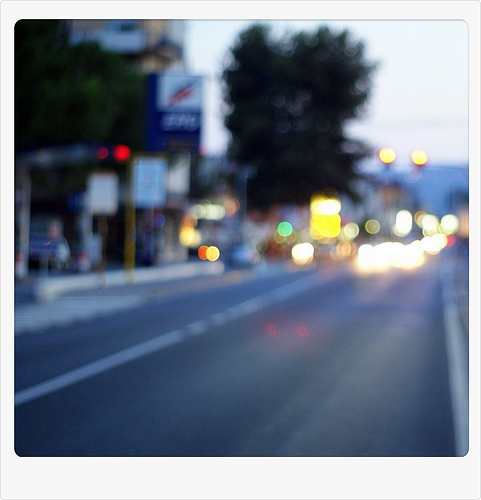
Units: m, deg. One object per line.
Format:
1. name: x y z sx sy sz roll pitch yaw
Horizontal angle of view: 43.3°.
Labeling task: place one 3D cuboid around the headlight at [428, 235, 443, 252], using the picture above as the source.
1. headlight: 1.161 -0.038 3.592 0.044 0.096 0.227 3 -3 7

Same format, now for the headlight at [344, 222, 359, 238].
1. headlight: 0.843 -0.146 4.597 0.089 0.122 0.103 -5 -12 -1

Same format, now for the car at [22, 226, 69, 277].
1. car: -7.152 0.368 22.847 1.699 1.071 1.991 3 6 15

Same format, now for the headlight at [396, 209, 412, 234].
1. headlight: 1.028 -0.167 3.800 0.095 0.200 0.104 0 4 0

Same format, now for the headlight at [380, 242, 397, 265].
1. headlight: 1.000 0.019 4.100 0.099 0.138 0.587 3 -4 13
